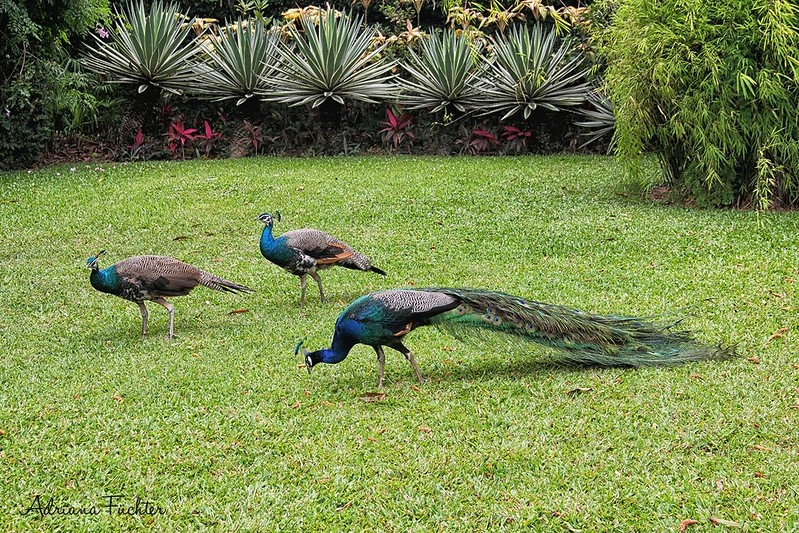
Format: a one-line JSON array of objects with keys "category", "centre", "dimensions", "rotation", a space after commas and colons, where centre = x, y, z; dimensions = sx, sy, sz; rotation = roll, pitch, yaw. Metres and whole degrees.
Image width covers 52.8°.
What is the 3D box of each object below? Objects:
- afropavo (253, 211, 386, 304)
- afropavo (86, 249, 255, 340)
[{"category": "afropavo", "centre": [-0.998, -0.144, 10.758], "dimensions": [1.896, 1.225, 0.528], "rotation": [-5, 14, -34]}, {"category": "afropavo", "centre": [-2.807, 0.361, 9.897], "dimensions": [2.031, 1.059, 0.575], "rotation": [-2, 8, -31]}]
